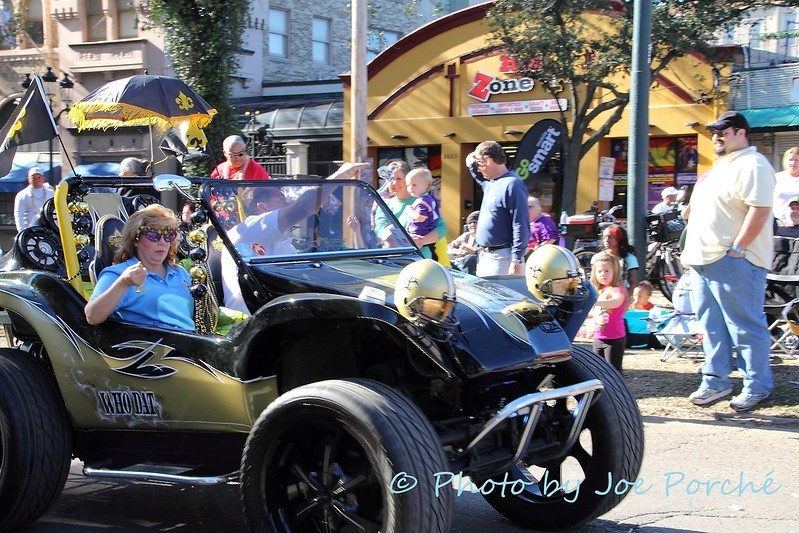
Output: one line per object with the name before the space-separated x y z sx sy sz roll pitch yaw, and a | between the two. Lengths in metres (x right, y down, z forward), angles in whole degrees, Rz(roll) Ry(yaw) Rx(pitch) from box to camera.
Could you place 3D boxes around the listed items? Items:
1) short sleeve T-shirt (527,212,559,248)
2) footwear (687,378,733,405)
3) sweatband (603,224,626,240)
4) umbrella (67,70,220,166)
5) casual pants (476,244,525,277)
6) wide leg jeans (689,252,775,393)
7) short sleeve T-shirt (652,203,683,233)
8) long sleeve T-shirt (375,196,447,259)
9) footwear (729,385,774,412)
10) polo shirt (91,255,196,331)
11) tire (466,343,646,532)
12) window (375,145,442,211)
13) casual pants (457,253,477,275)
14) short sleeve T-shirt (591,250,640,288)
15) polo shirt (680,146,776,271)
short sleeve T-shirt | 1.968 -0.539 12.705 0.338 0.501 0.524 -22 28 -7
footwear | 2.938 1.187 8.578 0.499 0.151 0.158 -10 -4 -7
sweatband | 2.293 -0.378 9.980 0.214 0.134 0.181 -9 -38 30
umbrella | -2.589 -1.667 10.202 1.145 0.647 1.033 -4 0 -21
casual pants | 0.929 -0.040 9.205 0.383 0.478 0.410 3 -7 -26
wide leg jeans | 3.045 0.536 8.502 0.664 1.398 0.754 10 -18 -10
short sleeve T-shirt | 4.037 -0.770 14.436 0.650 0.513 0.143 -1 -25 -36
long sleeve T-shirt | 0.063 -0.476 9.319 0.400 0.566 0.664 -19 6 -5
footwear | 3.205 1.214 8.374 0.474 0.146 0.150 -11 1 -17
polo shirt | -1.820 0.238 6.772 0.503 0.669 0.871 -1 0 37
tire | 1.000 1.173 6.108 1.337 1.107 0.510 -22 -12 36
window | 0.180 -2.609 24.213 2.407 1.879 0.033 -6 17 -35
casual pants | 0.968 -0.039 12.804 0.263 0.100 0.304 -2 -27 -39
short sleeve T-shirt | 2.107 0.033 9.246 0.254 0.196 0.479 -1 3 43
polo shirt | 2.956 -0.537 8.335 0.765 1.101 0.469 7 18 30
